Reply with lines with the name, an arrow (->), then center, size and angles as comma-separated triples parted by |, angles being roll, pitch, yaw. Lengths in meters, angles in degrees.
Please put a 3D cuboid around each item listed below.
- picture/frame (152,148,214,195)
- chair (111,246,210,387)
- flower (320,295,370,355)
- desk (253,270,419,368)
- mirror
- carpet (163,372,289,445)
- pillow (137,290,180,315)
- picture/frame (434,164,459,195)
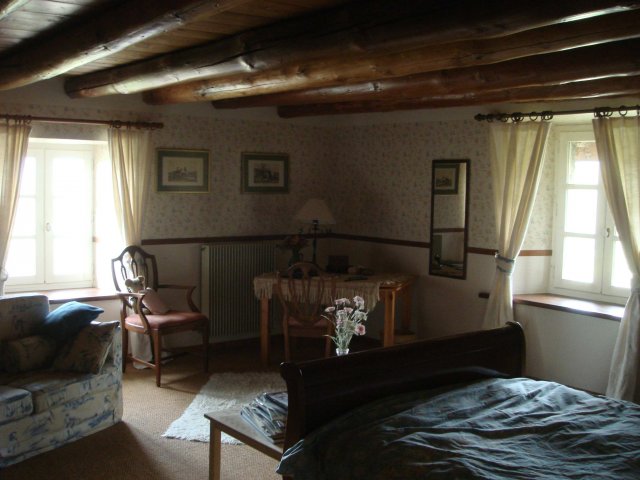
picture/frame -> -1.608, -0.793, 5.443 | 0.632, 0.467, 0.047 | -2, 6, -31
chair -> -1.658, 0.722, 4.922 | 0.881, 1.220, 0.821 | 4, 2, 41
flower -> 0.174, 0.669, 3.453 | 0.325, 0.372, 0.262 | -2, -10, 6
desk -> 0.323, 1.031, 5.189 | 1.546, 0.861, 1.175 | -2, -3, 34
mirror -> 1.427, -0.237, 5.217 | 0.156, 1.293, 0.577 | -6, 13, -34
carpet -> -0.691, 1.465, 4.406 | 0.775, 0.019, 1.528 | 14, 0, -8
pillow -> -1.651, 0.631, 4.884 | 0.339, 0.235, 0.326 | -2, 10, -19
picture/frame -> 1.371, -0.677, 5.233 | 0.370, 0.329, 0.024 | -1, 6, -23
